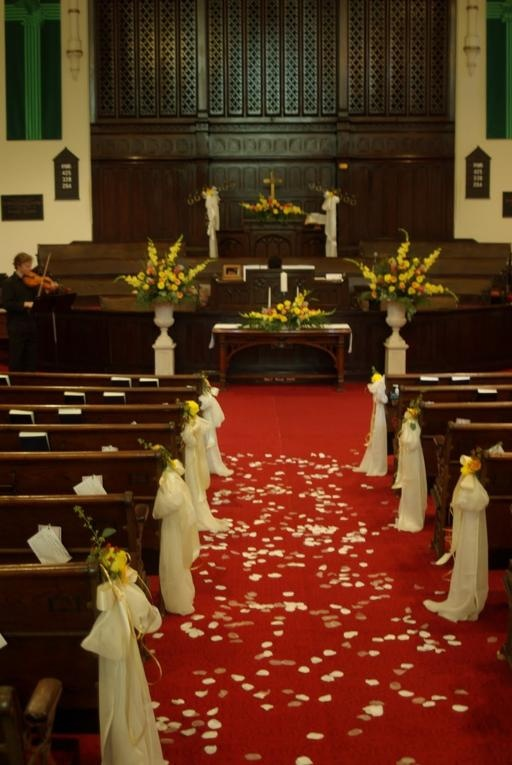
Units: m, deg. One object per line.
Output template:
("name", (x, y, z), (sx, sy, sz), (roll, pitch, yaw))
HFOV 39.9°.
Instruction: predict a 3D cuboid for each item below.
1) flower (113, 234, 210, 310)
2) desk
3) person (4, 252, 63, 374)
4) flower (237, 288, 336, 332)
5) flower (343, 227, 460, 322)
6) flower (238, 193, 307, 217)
("flower", (-1.252, -1.347, 9.828), (1.409, 1.017, 1.516), (-3, 5, -19))
("desk", (0.330, -0.390, 9.916), (1.895, 0.878, 1.117), (-2, 7, -2))
("person", (-2.811, -0.830, 8.546), (0.459, 1.397, 1.083), (-4, 7, -15))
("flower", (0.486, -0.977, 9.607), (0.952, 0.532, 1.156), (5, 10, 44))
("flower", (1.850, -1.222, 9.219), (1.021, 0.946, 1.088), (9, 8, 26))
("flower", (0.299, -3.496, 14.297), (1.005, 0.439, 0.854), (3, 6, 12))
